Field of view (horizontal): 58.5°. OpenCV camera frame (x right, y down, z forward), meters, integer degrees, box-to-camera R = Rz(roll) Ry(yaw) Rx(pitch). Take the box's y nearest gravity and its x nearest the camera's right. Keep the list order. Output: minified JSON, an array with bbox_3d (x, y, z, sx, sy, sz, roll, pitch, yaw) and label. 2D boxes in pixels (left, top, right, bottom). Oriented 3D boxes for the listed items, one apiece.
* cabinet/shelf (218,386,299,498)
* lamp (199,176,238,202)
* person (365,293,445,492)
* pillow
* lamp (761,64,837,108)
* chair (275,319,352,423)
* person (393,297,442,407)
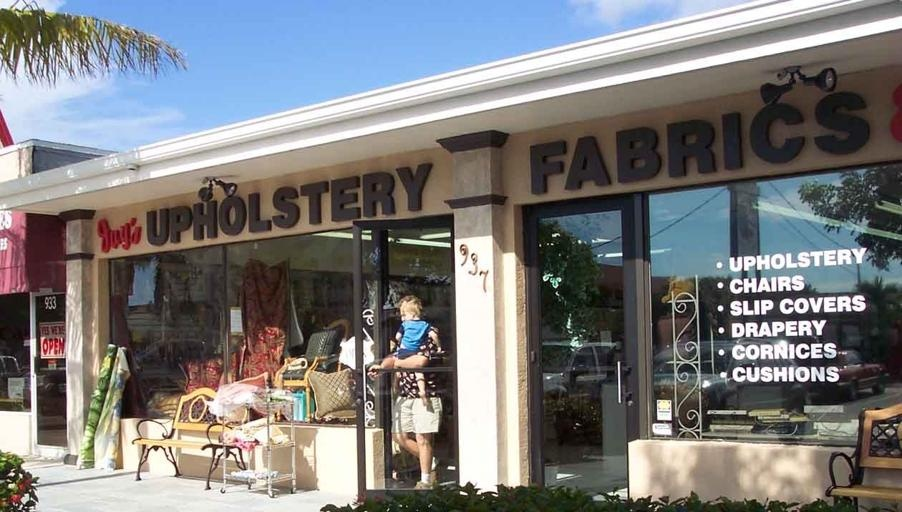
[{"bbox_3d":[-2.916,2.861,12.360,1.624,1.781,0.965,-2,-3,41],"label":"cabinet/shelf"},{"bbox_3d":[-3.763,-1.057,13.045,0.603,0.310,0.787,4,-14,-16],"label":"lamp"},{"bbox_3d":[-0.517,1.910,11.463,0.764,2.640,0.473,1,-14,-3],"label":"person"},{"bbox_3d":[-1.833,2.083,12.284,0.893,0.857,0.133,-8,-16,31],"label":"pillow"},{"bbox_3d":[4.033,-2.004,9.372,0.964,0.440,0.376,-3,-5,33],"label":"lamp"},{"bbox_3d":[-2.171,1.729,12.341,1.099,1.328,1.031,-2,0,-29],"label":"chair"},{"bbox_3d":[-0.493,1.251,11.462,0.659,1.599,0.634,4,-52,-11],"label":"person"}]
